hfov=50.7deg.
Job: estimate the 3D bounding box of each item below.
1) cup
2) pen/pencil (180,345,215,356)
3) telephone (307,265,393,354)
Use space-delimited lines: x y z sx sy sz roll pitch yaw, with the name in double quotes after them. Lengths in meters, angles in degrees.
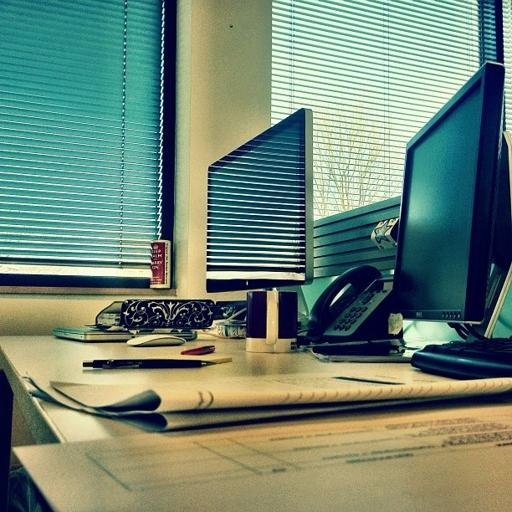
0.020 0.107 0.955 0.084 0.108 0.108 1 7 3 "cup"
-0.087 0.139 0.818 0.017 0.013 0.072 -4 -7 34 "pen/pencil"
0.178 0.108 1.040 0.118 0.132 0.195 3 -9 -25 "telephone"
